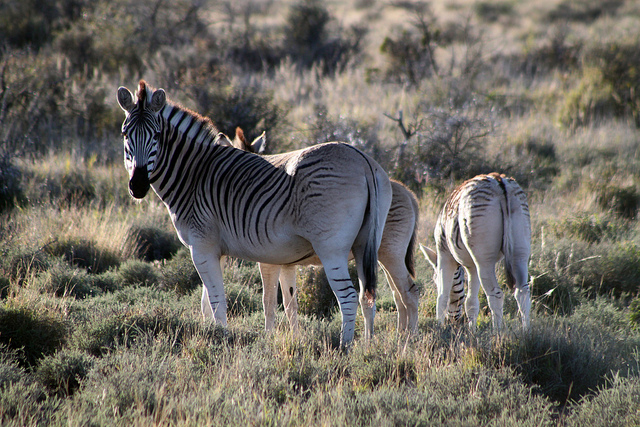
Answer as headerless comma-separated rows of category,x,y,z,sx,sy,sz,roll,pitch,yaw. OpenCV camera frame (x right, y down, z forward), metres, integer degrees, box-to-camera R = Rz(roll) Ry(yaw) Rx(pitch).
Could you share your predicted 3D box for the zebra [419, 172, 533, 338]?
zebra,4.544,1.207,29.227,2.608,4.445,1.907,-2,-8,14
